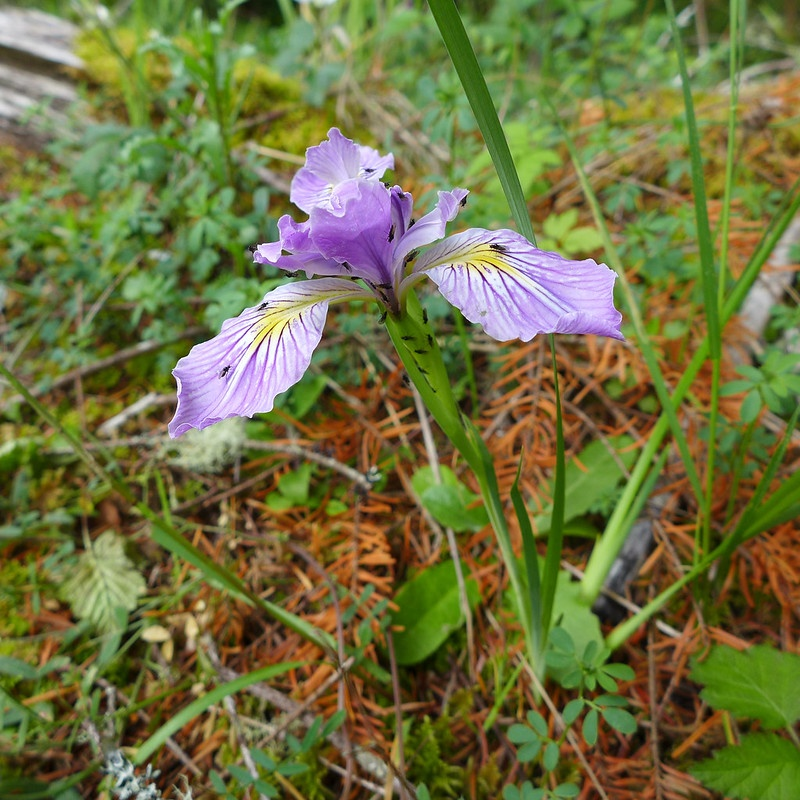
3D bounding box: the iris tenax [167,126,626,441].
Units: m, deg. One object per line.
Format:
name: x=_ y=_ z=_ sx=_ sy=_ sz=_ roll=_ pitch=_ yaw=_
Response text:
iris tenax: x=-0.034 y=-0.381 z=2.264 sx=1.062 sy=0.558 sz=1.258 roll=-28 pitch=34 yaw=-3
